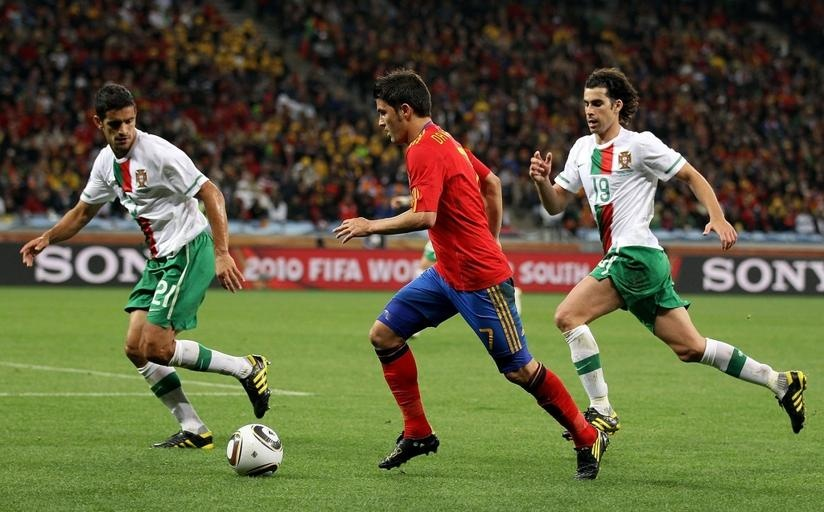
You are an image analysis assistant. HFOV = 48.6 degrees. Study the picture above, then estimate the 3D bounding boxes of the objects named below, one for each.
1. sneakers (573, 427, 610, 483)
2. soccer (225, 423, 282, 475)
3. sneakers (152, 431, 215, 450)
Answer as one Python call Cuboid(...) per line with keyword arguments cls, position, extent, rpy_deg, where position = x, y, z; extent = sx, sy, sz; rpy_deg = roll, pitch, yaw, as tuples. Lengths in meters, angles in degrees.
Cuboid(cls="sneakers", position=(1.740, 1.955, 8.783), extent=(0.296, 0.589, 0.193), rpy_deg=(18, -10, -31))
Cuboid(cls="soccer", position=(-1.523, 1.850, 8.848), extent=(0.460, 0.465, 0.466), rpy_deg=(5, 30, -29))
Cuboid(cls="sneakers", position=(-2.286, 1.891, 9.341), extent=(0.655, 0.250, 0.224), rpy_deg=(3, -7, -6))
